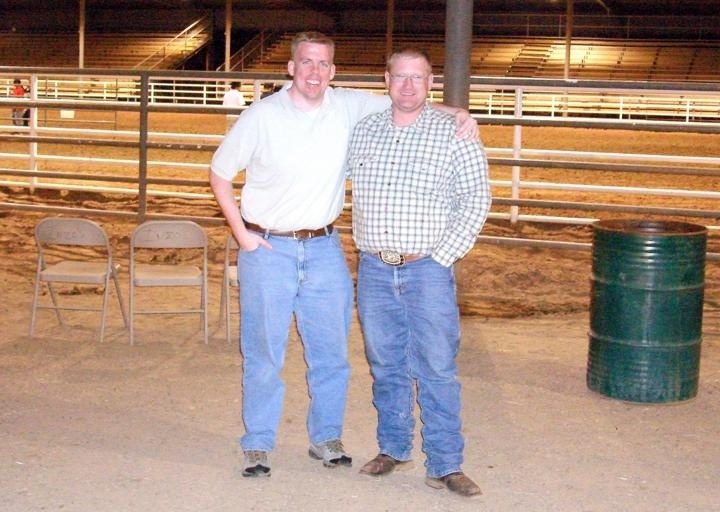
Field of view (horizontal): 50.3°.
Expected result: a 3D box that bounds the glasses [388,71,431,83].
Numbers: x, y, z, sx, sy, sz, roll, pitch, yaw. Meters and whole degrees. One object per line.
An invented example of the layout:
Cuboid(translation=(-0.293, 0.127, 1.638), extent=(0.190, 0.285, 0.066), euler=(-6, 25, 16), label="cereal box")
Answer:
Cuboid(translation=(0.281, -1.021, 4.444), extent=(0.210, 0.062, 0.051), euler=(1, 9, 2), label="glasses")

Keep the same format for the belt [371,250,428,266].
Cuboid(translation=(0.249, 0.020, 4.574), extent=(0.266, 0.093, 0.046), euler=(3, 10, 16), label="belt")

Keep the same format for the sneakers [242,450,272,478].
Cuboid(translation=(-0.637, 1.281, 4.732), extent=(0.146, 0.164, 0.096), euler=(3, -21, -1), label="sneakers")

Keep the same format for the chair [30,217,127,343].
Cuboid(translation=(-2.859, 0.100, 7.712), extent=(0.858, 1.070, 2.369), euler=(-2, 8, -20), label="chair")

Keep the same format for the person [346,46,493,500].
Cuboid(translation=(0.313, 0.096, 4.582), extent=(0.942, 2.581, 0.550), euler=(4, 11, 13), label="person")

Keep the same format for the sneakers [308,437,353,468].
Cuboid(translation=(-0.233, 1.238, 4.819), extent=(0.328, 0.097, 0.143), euler=(4, 5, 37), label="sneakers")

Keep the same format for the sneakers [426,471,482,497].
Cuboid(translation=(0.568, 1.340, 4.541), extent=(0.339, 0.089, 0.114), euler=(2, 9, 25), label="sneakers")
